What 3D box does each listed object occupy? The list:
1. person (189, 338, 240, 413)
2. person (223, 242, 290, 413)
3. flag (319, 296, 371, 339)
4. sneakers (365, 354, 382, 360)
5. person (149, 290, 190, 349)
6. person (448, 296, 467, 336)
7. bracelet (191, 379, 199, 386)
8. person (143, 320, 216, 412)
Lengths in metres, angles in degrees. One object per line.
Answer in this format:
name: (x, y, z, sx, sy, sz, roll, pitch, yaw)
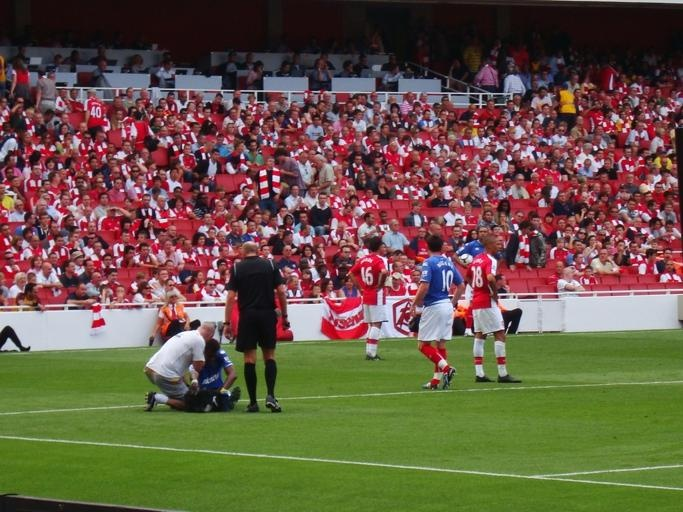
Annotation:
person: (-2.516, 2.191, 31.909, 1.006, 1.310, 1.244, -8, 14, -16)
person: (-1.611, 1.352, 31.620, 1.160, 3.146, 1.128, 0, 12, -2)
flag: (0.049, 1.572, 42.064, 1.342, 1.125, 0.093, 3, -6, -34)
sneakers: (0.702, 2.236, 37.756, 0.343, 0.144, 0.123, 5, -2, -30)
person: (-3.991, 1.462, 40.014, 1.020, 1.413, 0.721, -13, -12, 25)
person: (2.960, 1.539, 42.120, 0.323, 0.969, 0.705, 0, 37, -4)
bracelet: (-2.755, 2.337, 31.448, 0.101, 0.101, 0.102, -2, 2, -40)
person: (-3.125, 2.087, 31.876, 1.112, 1.717, 1.519, 9, 5, 35)
